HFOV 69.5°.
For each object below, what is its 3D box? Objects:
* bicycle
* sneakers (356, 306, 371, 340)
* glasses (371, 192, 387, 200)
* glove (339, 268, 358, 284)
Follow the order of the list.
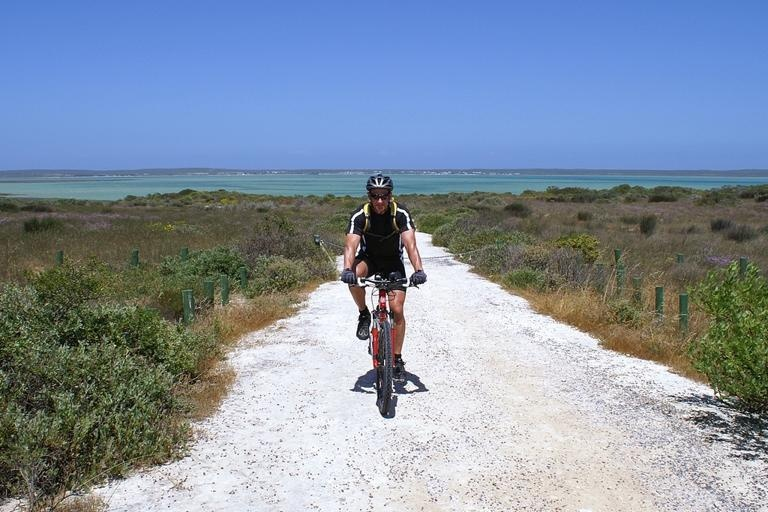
[{"bbox_3d":[-0.014,1.220,7.993,0.696,1.928,1.129,0,12,-3],"label":"bicycle"},{"bbox_3d":[-0.316,1.024,8.463,0.167,0.526,0.213,0,-1,8],"label":"sneakers"},{"bbox_3d":[-0.079,-0.815,7.604,0.263,0.096,0.129,3,13,10],"label":"glasses"},{"bbox_3d":[-0.495,0.279,7.384,0.151,0.081,0.215,21,-10,-23],"label":"glove"}]
